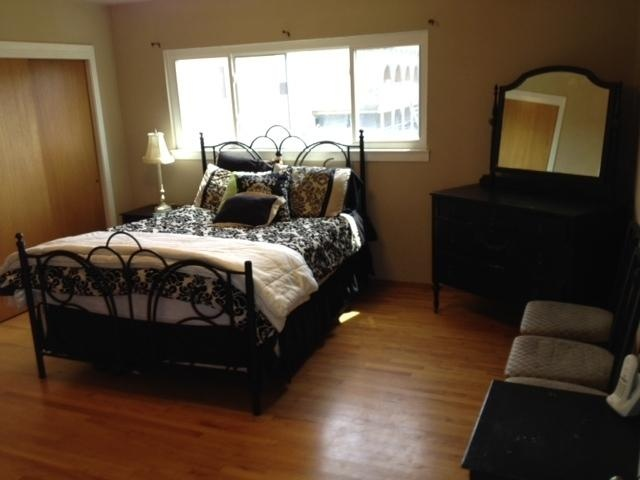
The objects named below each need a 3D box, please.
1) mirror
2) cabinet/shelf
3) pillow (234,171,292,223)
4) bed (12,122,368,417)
[{"bbox_3d":[1.736,-0.854,3.771,0.826,0.789,0.043,5,10,15],"label":"mirror"},{"bbox_3d":[1.621,-0.011,3.971,0.893,1.266,1.478,-10,13,-44],"label":"cabinet/shelf"},{"bbox_3d":[-0.513,-0.369,4.435,0.481,0.462,0.172,0,-8,6],"label":"pillow"},{"bbox_3d":[-0.638,0.045,3.976,1.723,1.399,2.089,3,11,20],"label":"bed"}]
